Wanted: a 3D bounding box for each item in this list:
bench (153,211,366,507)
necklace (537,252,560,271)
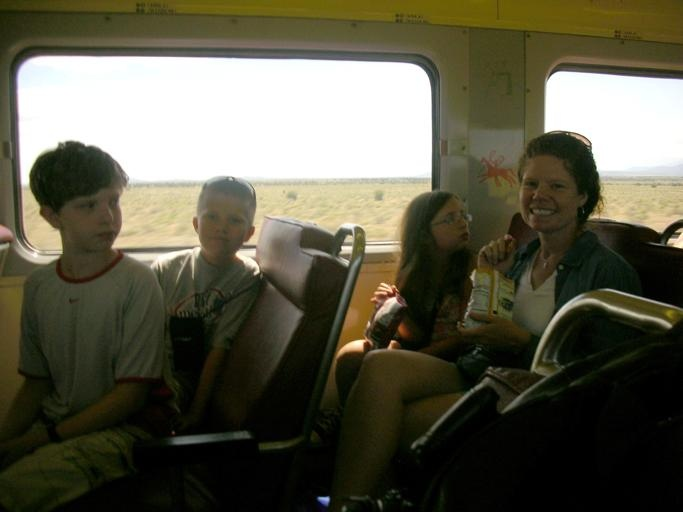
[{"bbox_3d":[-0.359,0.258,2.136,0.879,1.090,0.702,-1,7,-25],"label":"bench"},{"bbox_3d":[0.806,0.021,2.136,0.017,0.062,0.059,12,-6,-26],"label":"necklace"}]
